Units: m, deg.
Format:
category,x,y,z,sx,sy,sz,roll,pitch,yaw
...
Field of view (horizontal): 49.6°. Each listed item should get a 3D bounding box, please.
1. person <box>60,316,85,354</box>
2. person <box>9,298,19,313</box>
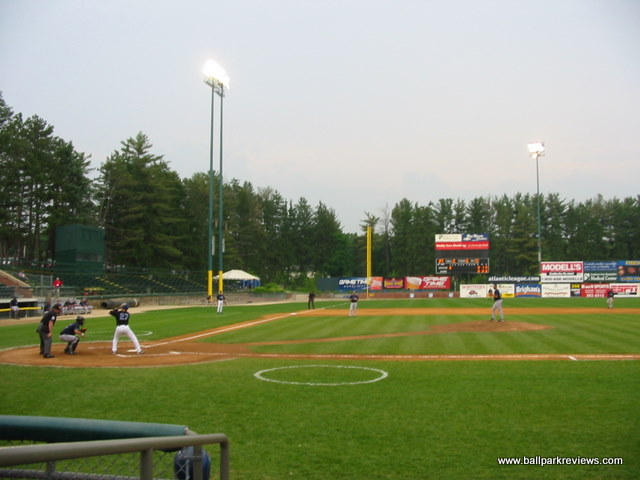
category,x,y,z,sx,sy,sz,roll,pitch,yaw
person,-8.840,3.308,24.212,0.717,1.251,1.353,0,0,-18
person,-17.664,3.727,39.244,0.369,0.935,0.783,0,0,-29
